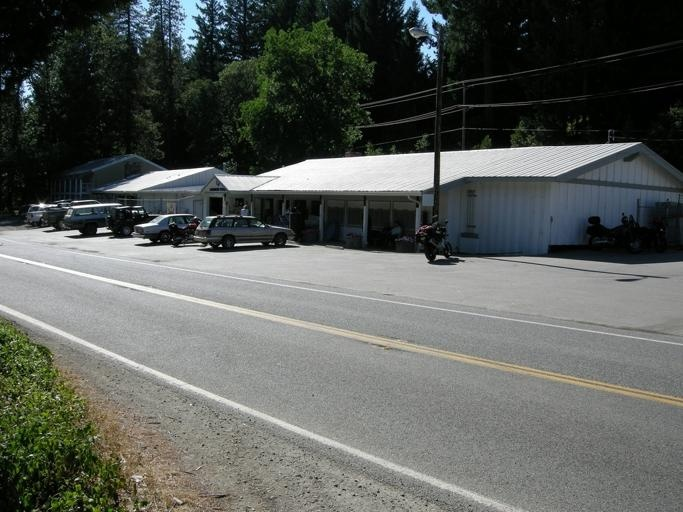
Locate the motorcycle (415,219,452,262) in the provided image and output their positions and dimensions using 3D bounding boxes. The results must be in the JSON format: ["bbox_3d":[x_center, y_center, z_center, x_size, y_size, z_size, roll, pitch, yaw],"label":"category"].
[{"bbox_3d":[4.219,-0.669,25.470,0.951,1.733,2.529,-16,-9,35],"label":"motorcycle"}]

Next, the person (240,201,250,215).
[{"bbox_3d":[-7.025,-3.458,42.624,0.543,1.269,1.097,2,-2,-33],"label":"person"}]

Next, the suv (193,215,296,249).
[{"bbox_3d":[-5.534,-1.298,32.585,4.781,1.778,1.044,0,2,-27],"label":"suv"}]
